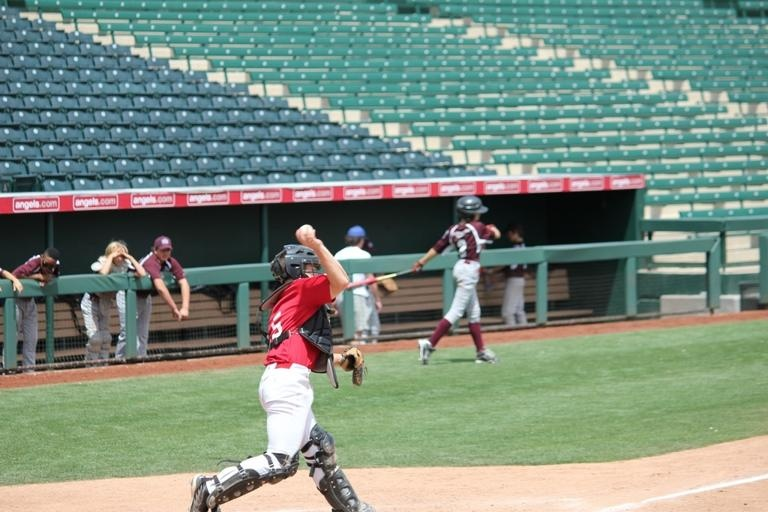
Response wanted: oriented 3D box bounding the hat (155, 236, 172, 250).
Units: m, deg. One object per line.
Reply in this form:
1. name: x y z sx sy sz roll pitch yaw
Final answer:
1. hat: -3.683 -0.257 28.652 0.238 0.178 0.328 1 -3 -27

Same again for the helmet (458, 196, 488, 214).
1. helmet: 1.464 -0.880 28.101 0.449 0.322 0.383 -2 0 0

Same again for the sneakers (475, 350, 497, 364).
1. sneakers: 1.719 1.659 28.245 0.391 0.189 0.162 -1 1 0

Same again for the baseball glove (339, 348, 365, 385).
1. baseball glove: -0.431 1.547 23.992 0.256 0.383 0.564 -35 -39 22

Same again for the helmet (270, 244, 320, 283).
1. helmet: -1.304 0.061 24.010 0.703 0.483 0.493 -12 5 -13

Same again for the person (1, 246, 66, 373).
1. person: -5.696 0.867 28.216 0.750 2.032 0.368 -3 0 -11

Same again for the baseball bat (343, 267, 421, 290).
1. baseball bat: -0.052 0.346 29.121 1.532 0.138 0.199 -9 5 6

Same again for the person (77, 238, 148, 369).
1. person: -4.551 0.736 28.557 0.978 2.029 0.318 -3 0 -9
